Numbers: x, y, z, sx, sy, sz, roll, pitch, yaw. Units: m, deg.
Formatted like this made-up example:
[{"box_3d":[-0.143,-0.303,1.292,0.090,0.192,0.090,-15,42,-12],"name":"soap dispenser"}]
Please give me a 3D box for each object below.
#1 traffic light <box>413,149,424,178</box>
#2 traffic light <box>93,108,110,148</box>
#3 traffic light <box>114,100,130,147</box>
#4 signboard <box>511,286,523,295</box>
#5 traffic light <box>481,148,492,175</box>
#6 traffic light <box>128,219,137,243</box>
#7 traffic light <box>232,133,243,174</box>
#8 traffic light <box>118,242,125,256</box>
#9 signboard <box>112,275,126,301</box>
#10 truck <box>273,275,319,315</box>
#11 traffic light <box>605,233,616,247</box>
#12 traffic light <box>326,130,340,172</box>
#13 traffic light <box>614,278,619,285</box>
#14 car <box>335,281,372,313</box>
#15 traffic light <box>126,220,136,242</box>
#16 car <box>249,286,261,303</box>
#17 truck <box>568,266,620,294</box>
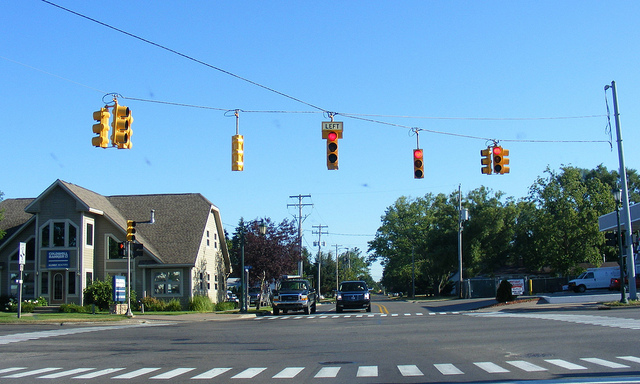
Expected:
[{"box_3d":[6.048,-1.775,48.588,0.508,1.729,0.491,-2,-11,0],"name":"traffic light"},{"box_3d":[-12.346,-3.648,44.025,0.794,2.213,0.595,2,-12,-22],"name":"traffic light"},{"box_3d":[-11.238,-3.877,44.338,0.747,2.356,0.501,1,-12,-17],"name":"traffic light"},{"box_3d":[17.378,8.767,69.502,1.327,0.952,0.070,-1,13,7],"name":"signboard"},{"box_3d":[10.486,-1.970,49.671,0.540,1.662,0.830,-2,-12,1],"name":"traffic light"},{"box_3d":[-13.557,2.868,56.124,0.432,1.607,1.004,0,-12,-13],"name":"traffic light"},{"box_3d":[-4.829,-2.404,45.385,0.570,2.086,1.119,-1,-12,-7],"name":"traffic light"},{"box_3d":[-14.210,4.112,56.073,0.376,0.989,0.352,2,-12,-21],"name":"traffic light"},{"box_3d":[-15.811,7.633,61.397,0.274,2.178,1.893,-7,-7,25],"name":"signboard"},{"box_3d":[-2.029,8.314,61.754,2.816,3.132,3.639,-3,-12,4],"name":"truck"},{"box_3d":[21.112,3.478,57.131,1.093,1.092,0.545,0,-2,1],"name":"traffic light"},{"box_3d":[0.753,-2.586,46.877,0.796,2.316,0.491,-3,-11,3],"name":"traffic light"},{"box_3d":[27.961,8.531,74.287,0.733,0.756,0.404,1,3,30],"name":"traffic light"},{"box_3d":[2.452,8.054,60.257,2.543,2.401,1.236,-2,-12,-4],"name":"car"},{"box_3d":[-13.579,2.818,56.039,0.466,1.324,0.858,2,-12,-18],"name":"traffic light"},{"box_3d":[-7.424,11.663,87.961,1.511,1.362,2.620,0,-13,-3],"name":"car"},{"box_3d":[26.992,8.529,76.876,4.925,2.130,2.619,0,-7,8],"name":"truck"}]
